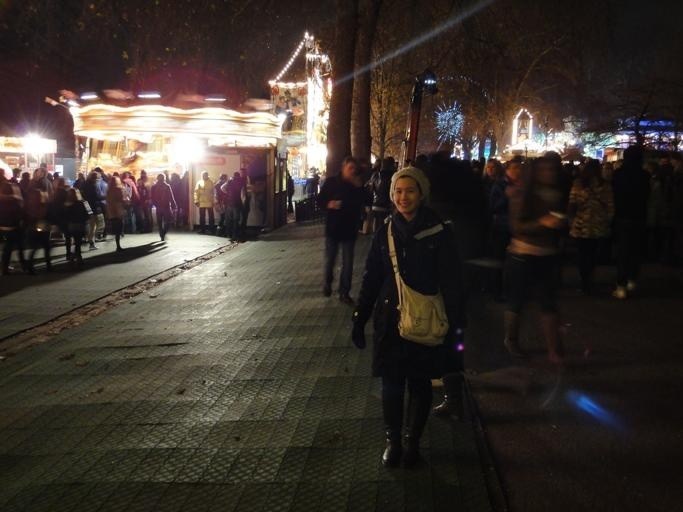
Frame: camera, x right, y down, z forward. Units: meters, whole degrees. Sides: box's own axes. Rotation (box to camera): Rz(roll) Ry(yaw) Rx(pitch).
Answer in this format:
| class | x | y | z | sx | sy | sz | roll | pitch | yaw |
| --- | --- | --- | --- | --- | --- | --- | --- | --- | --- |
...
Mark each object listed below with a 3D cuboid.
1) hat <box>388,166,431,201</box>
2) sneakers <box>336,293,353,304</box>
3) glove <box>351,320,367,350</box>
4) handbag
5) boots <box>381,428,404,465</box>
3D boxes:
| class | x | y | z | sx | sy | sz | roll | pitch | yaw |
| --- | --- | --- | --- | --- | --- | --- | --- | --- | --- |
| hat | 0.492 | -0.505 | 3.783 | 0.217 | 0.288 | 0.267 | 2 | 30 | 12 |
| sneakers | 0.078 | 0.690 | 8.573 | 0.295 | 0.222 | 0.105 | 2 | 17 | 7 |
| glove | 0.130 | 0.594 | 3.843 | 0.081 | 0.274 | 0.273 | 0 | 9 | 5 |
| handbag | 0.552 | 0.401 | 3.515 | 0.362 | 0.437 | 0.229 | 5 | -19 | 1 |
| boots | 0.375 | 1.399 | 3.790 | 0.154 | 0.289 | 0.098 | 0 | 8 | 4 |
